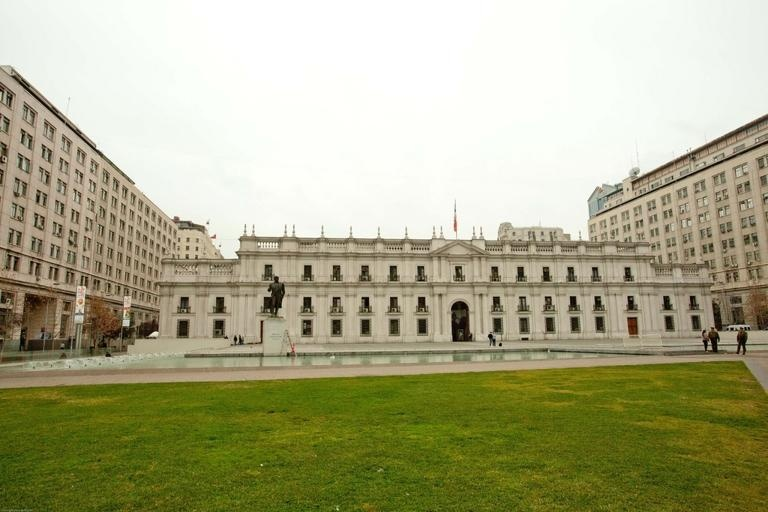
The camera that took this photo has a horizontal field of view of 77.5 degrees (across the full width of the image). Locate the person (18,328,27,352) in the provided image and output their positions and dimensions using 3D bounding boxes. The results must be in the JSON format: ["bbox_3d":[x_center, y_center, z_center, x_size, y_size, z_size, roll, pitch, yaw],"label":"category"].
[{"bbox_3d":[-40.370,9.186,53.505,0.520,2.390,1.505,0,-1,-36],"label":"person"}]

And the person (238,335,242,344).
[{"bbox_3d":[-18.524,10.738,61.732,0.503,0.792,0.742,0,-1,-20],"label":"person"}]

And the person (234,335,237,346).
[{"bbox_3d":[-19.074,10.690,61.463,0.569,0.879,1.163,0,-1,-25],"label":"person"}]
